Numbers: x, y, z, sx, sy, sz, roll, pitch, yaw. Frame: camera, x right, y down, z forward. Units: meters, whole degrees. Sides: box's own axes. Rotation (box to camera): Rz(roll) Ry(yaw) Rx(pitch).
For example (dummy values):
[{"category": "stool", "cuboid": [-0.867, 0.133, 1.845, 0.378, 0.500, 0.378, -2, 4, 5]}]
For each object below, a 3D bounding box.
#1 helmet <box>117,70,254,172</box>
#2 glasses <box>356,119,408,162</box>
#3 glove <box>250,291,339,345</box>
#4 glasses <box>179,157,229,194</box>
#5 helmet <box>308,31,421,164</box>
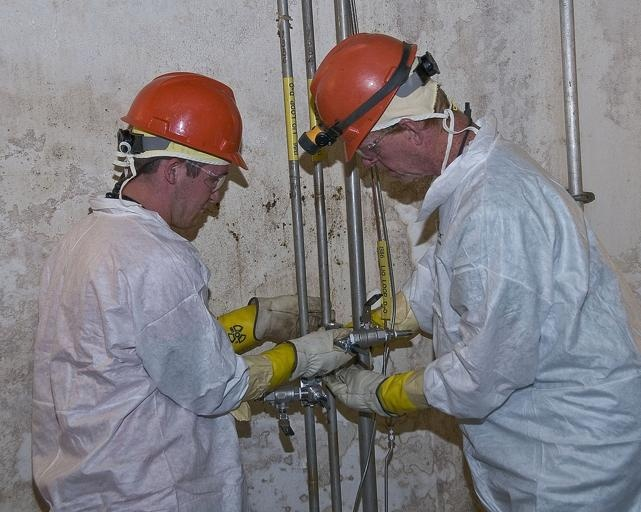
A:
[{"category": "helmet", "cuboid": [-0.524, -0.516, 3.516, 0.367, 0.248, 0.327, 20, 5, -12]}, {"category": "glasses", "cuboid": [0.227, -0.421, 3.490, 0.086, 0.157, 0.114, 43, 17, 11]}, {"category": "glove", "cuboid": [-0.139, 0.274, 3.936, 0.313, 0.156, 0.187, -10, 1, -39]}, {"category": "glasses", "cuboid": [-0.454, -0.327, 3.542, 0.112, 0.037, 0.111, 35, 6, 35]}, {"category": "helmet", "cuboid": [0.151, -0.565, 3.469, 0.224, 0.492, 0.363, 21, 23, -8]}]
